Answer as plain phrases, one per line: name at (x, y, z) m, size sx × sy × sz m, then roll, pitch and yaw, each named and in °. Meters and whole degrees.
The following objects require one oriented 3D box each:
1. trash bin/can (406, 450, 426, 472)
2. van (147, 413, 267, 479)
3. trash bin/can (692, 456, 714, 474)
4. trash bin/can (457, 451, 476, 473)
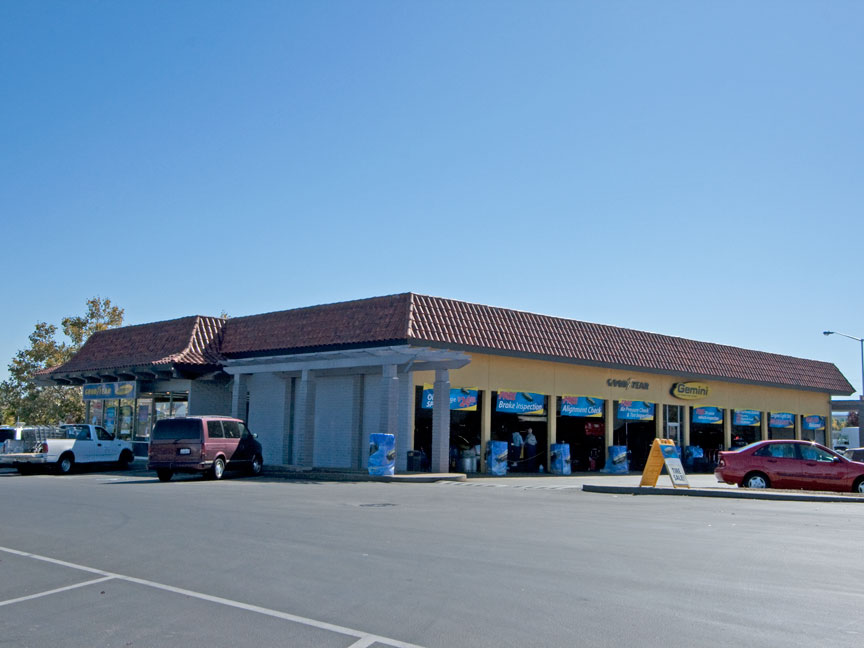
trash bin/can at (-0.661, 5.447, 31.010) m, size 0.428 × 0.783 × 0.800 m, roll -7°, pitch -12°, yaw 35°
van at (-8.258, 4.547, 29.248) m, size 2.091 × 1.788 × 3.872 m, roll -4°, pitch -5°, yaw 31°
trash bin/can at (14.336, 7.556, 41.538) m, size 1.262 × 0.935 × 1.289 m, roll -2°, pitch -5°, yaw 20°
trash bin/can at (1.531, 5.813, 32.704) m, size 0.788 × 1.161 × 0.806 m, roll -3°, pitch -4°, yaw 34°
